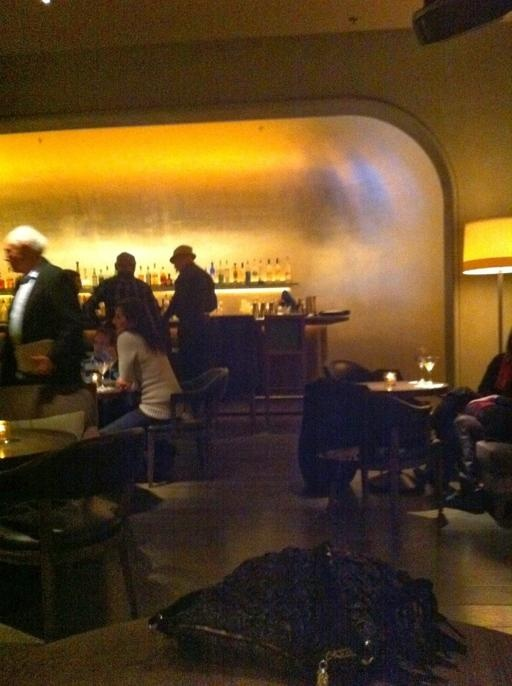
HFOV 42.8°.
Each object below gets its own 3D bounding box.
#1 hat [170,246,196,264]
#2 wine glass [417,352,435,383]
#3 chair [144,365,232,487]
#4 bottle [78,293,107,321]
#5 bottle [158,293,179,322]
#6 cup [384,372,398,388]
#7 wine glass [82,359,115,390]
[{"bbox_3d":[-0.239,-0.293,2.148,0.085,0.065,0.119,-1,3,-7],"label":"hat"},{"bbox_3d":[0.588,0.081,2.249,0.089,0.112,0.097,0,-4,1],"label":"wine glass"},{"bbox_3d":[-0.198,0.265,2.244,0.364,0.501,0.340,1,1,-5],"label":"chair"},{"bbox_3d":[-0.525,-0.120,2.109,0.076,0.113,0.115,3,-9,-17],"label":"bottle"},{"bbox_3d":[-0.259,-0.107,2.009,0.021,0.078,0.060,14,-1,-40],"label":"bottle"},{"bbox_3d":[0.457,0.125,2.201,0.045,0.074,0.045,0,8,0],"label":"cup"},{"bbox_3d":[-0.499,0.101,2.141,0.093,0.097,0.094,2,4,19],"label":"wine glass"}]
